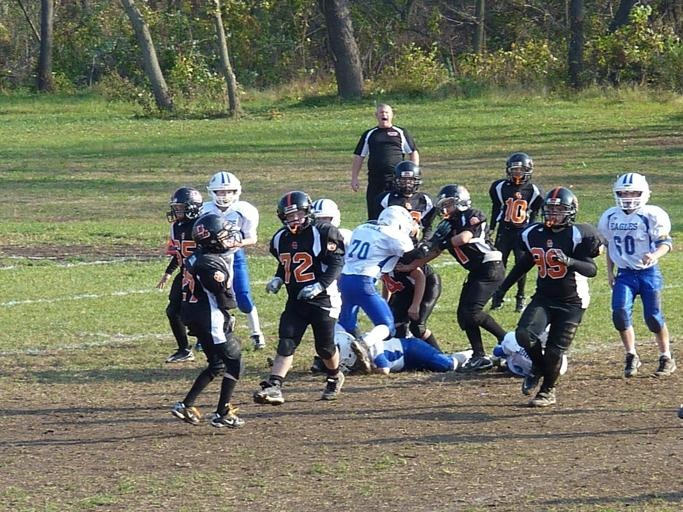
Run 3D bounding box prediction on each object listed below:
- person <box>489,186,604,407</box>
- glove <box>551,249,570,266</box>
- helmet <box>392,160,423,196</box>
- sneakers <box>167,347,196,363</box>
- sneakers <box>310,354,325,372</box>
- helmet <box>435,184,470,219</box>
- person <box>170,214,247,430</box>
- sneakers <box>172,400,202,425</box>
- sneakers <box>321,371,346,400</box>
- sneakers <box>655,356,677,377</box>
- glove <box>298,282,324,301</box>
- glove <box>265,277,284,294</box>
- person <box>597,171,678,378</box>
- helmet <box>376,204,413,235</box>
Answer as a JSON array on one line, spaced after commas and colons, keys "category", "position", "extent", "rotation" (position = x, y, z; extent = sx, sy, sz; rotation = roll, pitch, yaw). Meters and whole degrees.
[{"category": "person", "position": [3.270, 0.633, 21.113], "extent": [1.416, 3.326, 0.801], "rotation": [-6, 10, -9]}, {"category": "glove", "position": [3.302, 0.024, 20.851], "extent": [0.296, 0.237, 0.135], "rotation": [-1, 10, 15]}, {"category": "helmet", "position": [1.127, -1.356, 23.856], "extent": [0.553, 0.446, 0.642], "rotation": [3, 3, 4]}, {"category": "sneakers", "position": [-2.650, 1.689, 22.856], "extent": [0.531, 0.174, 0.172], "rotation": [-1, 6, -16]}, {"category": "sneakers", "position": [-0.385, 1.797, 22.472], "extent": [0.251, 0.250, 0.287], "rotation": [0, -26, -1]}, {"category": "helmet", "position": [1.929, -0.898, 22.921], "extent": [0.716, 0.460, 0.468], "rotation": [7, -11, -12]}, {"category": "person", "position": [-2.033, 1.012, 20.501], "extent": [1.043, 3.216, 0.825], "rotation": [-6, 10, -4]}, {"category": "sneakers", "position": [-2.347, 2.361, 20.467], "extent": [0.576, 0.228, 0.216], "rotation": [32, -26, -20]}, {"category": "sneakers", "position": [-0.115, 2.067, 21.350], "extent": [0.229, 0.541, 0.277], "rotation": [24, -3, 22]}, {"category": "sneakers", "position": [5.133, 1.777, 21.785], "extent": [0.200, 0.200, 0.519], "rotation": [-2, 5, 34]}, {"category": "glove", "position": [-0.459, 0.549, 20.751], "extent": [0.396, 0.274, 0.200], "rotation": [-4, 9, -3]}, {"category": "glove", "position": [-1.011, 0.458, 21.123], "extent": [0.245, 0.257, 0.289], "rotation": [-4, 9, -2]}, {"category": "person", "position": [4.694, 0.301, 21.915], "extent": [1.104, 3.224, 1.031], "rotation": [-3, 10, 9]}, {"category": "helmet", "position": [0.913, -0.589, 22.457], "extent": [0.631, 0.432, 0.449], "rotation": [16, 11, -27]}]
